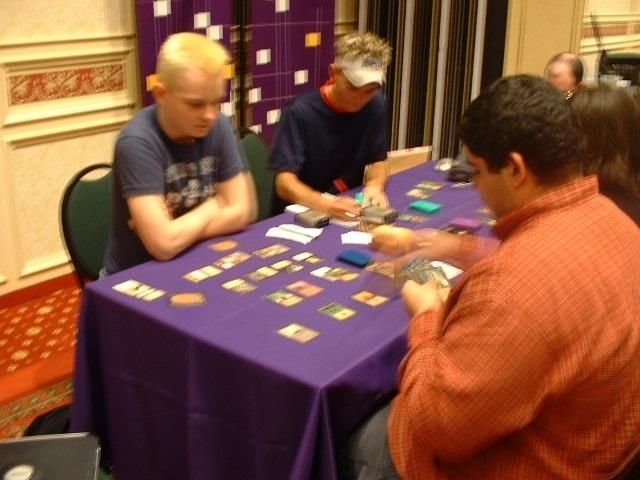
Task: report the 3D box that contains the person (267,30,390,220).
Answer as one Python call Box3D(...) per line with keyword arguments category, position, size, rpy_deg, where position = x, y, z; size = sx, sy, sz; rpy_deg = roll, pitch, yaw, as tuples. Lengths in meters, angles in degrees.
Box3D(category="person", position=(0.101, -0.485, 2.821), size=(0.644, 1.224, 0.610), rpy_deg=(-3, 26, -15))

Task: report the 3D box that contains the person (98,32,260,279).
Box3D(category="person", position=(-0.667, -0.147, 2.263), size=(0.543, 1.477, 0.607), rpy_deg=(19, 26, 28))
